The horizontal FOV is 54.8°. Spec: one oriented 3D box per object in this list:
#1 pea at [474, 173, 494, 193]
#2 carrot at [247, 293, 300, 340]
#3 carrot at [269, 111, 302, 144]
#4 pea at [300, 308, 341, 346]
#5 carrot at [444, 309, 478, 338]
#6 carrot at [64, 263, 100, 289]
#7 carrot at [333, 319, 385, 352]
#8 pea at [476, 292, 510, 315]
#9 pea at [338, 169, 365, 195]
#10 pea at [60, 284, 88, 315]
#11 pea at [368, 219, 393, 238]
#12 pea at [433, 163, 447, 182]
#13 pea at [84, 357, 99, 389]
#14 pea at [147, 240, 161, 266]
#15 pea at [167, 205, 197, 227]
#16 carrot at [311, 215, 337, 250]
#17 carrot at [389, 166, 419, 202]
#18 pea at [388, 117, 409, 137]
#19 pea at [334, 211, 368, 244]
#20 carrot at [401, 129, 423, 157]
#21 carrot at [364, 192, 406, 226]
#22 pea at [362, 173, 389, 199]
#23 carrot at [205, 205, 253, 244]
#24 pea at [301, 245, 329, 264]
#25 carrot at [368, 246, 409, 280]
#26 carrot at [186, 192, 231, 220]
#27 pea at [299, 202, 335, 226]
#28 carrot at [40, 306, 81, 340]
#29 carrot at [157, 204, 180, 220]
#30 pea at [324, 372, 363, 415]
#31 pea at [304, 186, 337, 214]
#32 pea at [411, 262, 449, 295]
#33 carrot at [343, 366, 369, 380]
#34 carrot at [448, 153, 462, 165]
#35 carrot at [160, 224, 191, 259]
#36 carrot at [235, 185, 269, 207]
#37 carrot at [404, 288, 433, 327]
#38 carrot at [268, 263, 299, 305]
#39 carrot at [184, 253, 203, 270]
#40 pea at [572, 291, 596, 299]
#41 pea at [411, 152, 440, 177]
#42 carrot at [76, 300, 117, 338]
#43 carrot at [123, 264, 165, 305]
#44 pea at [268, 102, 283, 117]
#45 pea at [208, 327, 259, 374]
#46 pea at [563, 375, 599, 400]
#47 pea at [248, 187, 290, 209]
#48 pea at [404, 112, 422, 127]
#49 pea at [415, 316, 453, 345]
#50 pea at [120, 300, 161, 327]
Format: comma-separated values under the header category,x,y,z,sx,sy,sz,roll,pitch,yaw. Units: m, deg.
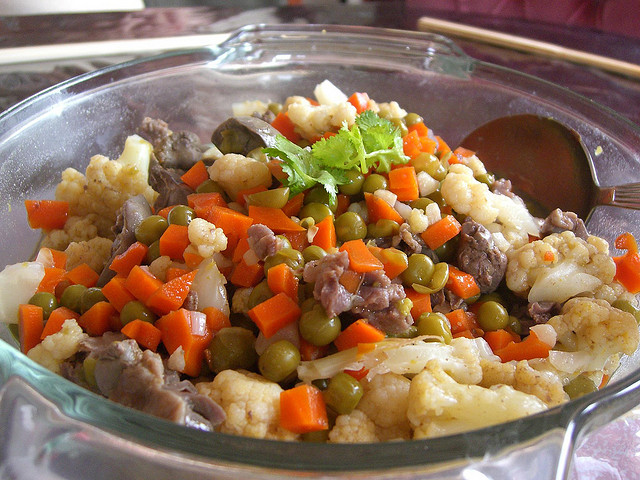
category,x,y,z,sx,sy,sz,roll,pitch,yaw
pea,0.918,-0.330,3.462,0.085,0.071,0.103,2,32,19
carrot,-0.209,0.333,2.778,0.239,0.111,0.183,-30,69,-26
carrot,-0.183,-0.664,3.612,0.175,0.162,0.183,31,21,-2
pea,-0.005,0.388,2.830,0.192,0.178,0.156,-4,101,-37
carrot,0.680,0.399,3.037,0.131,0.104,0.152,-13,46,-24
carrot,-1.183,0.183,3.074,0.125,0.037,0.125,-35,82,-35
carrot,0.178,0.434,2.805,0.226,0.123,0.097,-1,58,-4
pea,0.881,0.294,3.150,0.136,0.119,0.122,-19,94,22
pea,0.171,-0.298,3.141,0.112,0.118,0.144,-3,98,-12
pea,-1.171,0.289,2.993,0.115,0.122,0.154,15,67,-15
pea,0.301,-0.058,3.086,0.117,0.077,0.077,4,58,-1
pea,0.641,-0.375,3.295,0.034,0.084,0.098,29,51,-10
pea,-0.987,0.570,2.649,0.049,0.103,0.124,3,84,1
pea,-0.799,0.059,3.035,0.070,0.076,0.102,6,54,3
pea,-0.684,-0.118,3.062,0.121,0.095,0.102,3,84,30
carrot,0.012,-0.041,2.951,0.110,0.071,0.165,-3,98,0
carrot,0.429,-0.293,3.161,0.150,0.160,0.166,-1,47,4
pea,0.449,-0.656,3.496,0.099,0.115,0.111,-18,31,-29
pea,0.155,-0.061,3.110,0.132,0.149,0.166,10,97,4
carrot,0.498,-0.530,3.359,0.101,0.134,0.192,-1,96,-2
carrot,0.341,-0.175,3.136,0.076,0.162,0.181,-43,110,-20
pea,0.283,-0.280,3.197,0.105,0.113,0.135,-5,96,18
carrot,-0.457,-0.094,2.997,0.182,0.191,0.148,30,102,44
pea,-0.023,0.072,2.939,0.076,0.099,0.064,-7,99,-24
carrot,0.337,0.084,2.989,0.145,0.156,0.116,37,99,-2
carrot,-0.587,-0.189,3.091,0.150,0.064,0.162,0,31,1
pea,-0.023,-0.139,3.078,0.129,0.102,0.106,9,72,-5
carrot,-1.222,0.381,2.935,0.147,0.143,0.149,41,74,-26
carrot,-0.792,-0.132,3.216,0.073,0.056,0.084,-12,21,33
pea,0.100,0.669,2.681,0.142,0.082,0.148,30,62,15
pea,-0.002,-0.220,3.091,0.142,0.117,0.113,9,30,0
pea,0.559,0.202,3.006,0.106,0.080,0.216,21,55,42
carrot,0.146,0.595,2.759,0.074,0.056,0.028,11,53,-7
carrot,0.748,-0.451,3.436,0.057,0.042,0.061,14,74,6
carrot,-0.698,0.004,2.953,0.144,0.091,0.155,6,84,-1
carrot,-0.350,-0.248,3.126,0.107,0.113,0.042,11,26,10
carrot,0.465,0.333,3.044,0.153,0.151,0.161,18,78,-19
carrot,-0.177,0.184,2.895,0.089,0.184,0.164,-4,85,14
carrot,-0.604,0.100,2.936,0.086,0.047,0.065,-1,58,-4
pea,1.291,0.269,3.005,0.056,0.045,0.019,-21,109,-34
pea,0.560,-0.381,3.216,0.121,0.078,0.133,-2,84,7
carrot,-1.029,0.374,2.858,0.182,0.090,0.142,-25,63,-17
carrot,-0.831,0.207,2.916,0.166,0.164,0.129,32,101,5
pea,-0.284,-0.816,3.816,0.080,0.061,0.105,1,28,0
pea,-0.398,0.504,2.810,0.209,0.127,0.182,-13,60,-11
pea,1.180,0.661,2.788,0.167,0.038,0.083,-22,62,-16
pea,-0.239,-0.196,2.960,0.165,0.104,0.106,-8,34,-5
pea,0.546,-0.736,3.658,0.090,0.066,0.095,3,34,9
pea,0.528,0.410,2.853,0.144,0.109,0.118,24,75,-13
pea,-0.837,0.329,2.872,0.145,0.119,0.116,12,74,8
